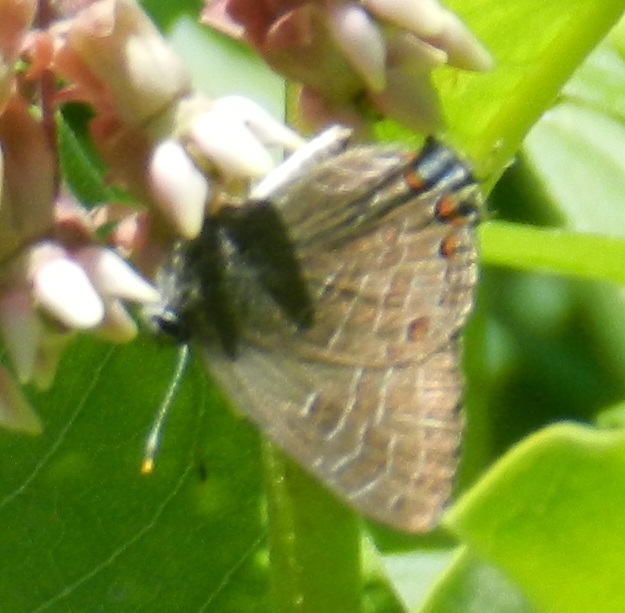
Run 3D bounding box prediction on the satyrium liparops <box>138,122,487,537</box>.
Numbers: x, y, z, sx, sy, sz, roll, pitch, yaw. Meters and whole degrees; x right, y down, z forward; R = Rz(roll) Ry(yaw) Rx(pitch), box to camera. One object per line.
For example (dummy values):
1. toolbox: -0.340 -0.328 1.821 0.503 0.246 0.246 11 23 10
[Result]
1. satyrium liparops: -0.024 -0.021 0.528 0.133 0.208 0.150 27 48 36
